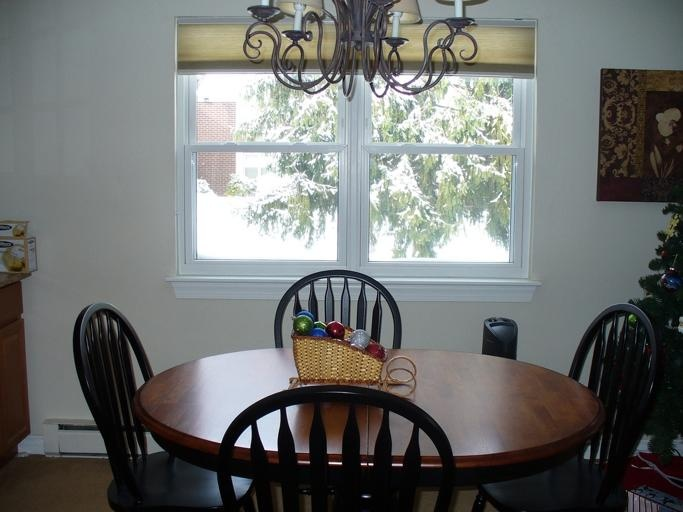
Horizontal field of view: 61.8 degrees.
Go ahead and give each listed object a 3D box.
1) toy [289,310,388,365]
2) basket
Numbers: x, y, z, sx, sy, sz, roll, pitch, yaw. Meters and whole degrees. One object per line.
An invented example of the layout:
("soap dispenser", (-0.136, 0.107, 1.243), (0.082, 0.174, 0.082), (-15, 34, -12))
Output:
("toy", (-0.008, 0.265, 2.139), (0.255, 0.109, 0.186), (18, -5, 12))
("basket", (-0.014, 0.361, 2.133), (0.265, 0.148, 0.190), (1, -2, 0))
